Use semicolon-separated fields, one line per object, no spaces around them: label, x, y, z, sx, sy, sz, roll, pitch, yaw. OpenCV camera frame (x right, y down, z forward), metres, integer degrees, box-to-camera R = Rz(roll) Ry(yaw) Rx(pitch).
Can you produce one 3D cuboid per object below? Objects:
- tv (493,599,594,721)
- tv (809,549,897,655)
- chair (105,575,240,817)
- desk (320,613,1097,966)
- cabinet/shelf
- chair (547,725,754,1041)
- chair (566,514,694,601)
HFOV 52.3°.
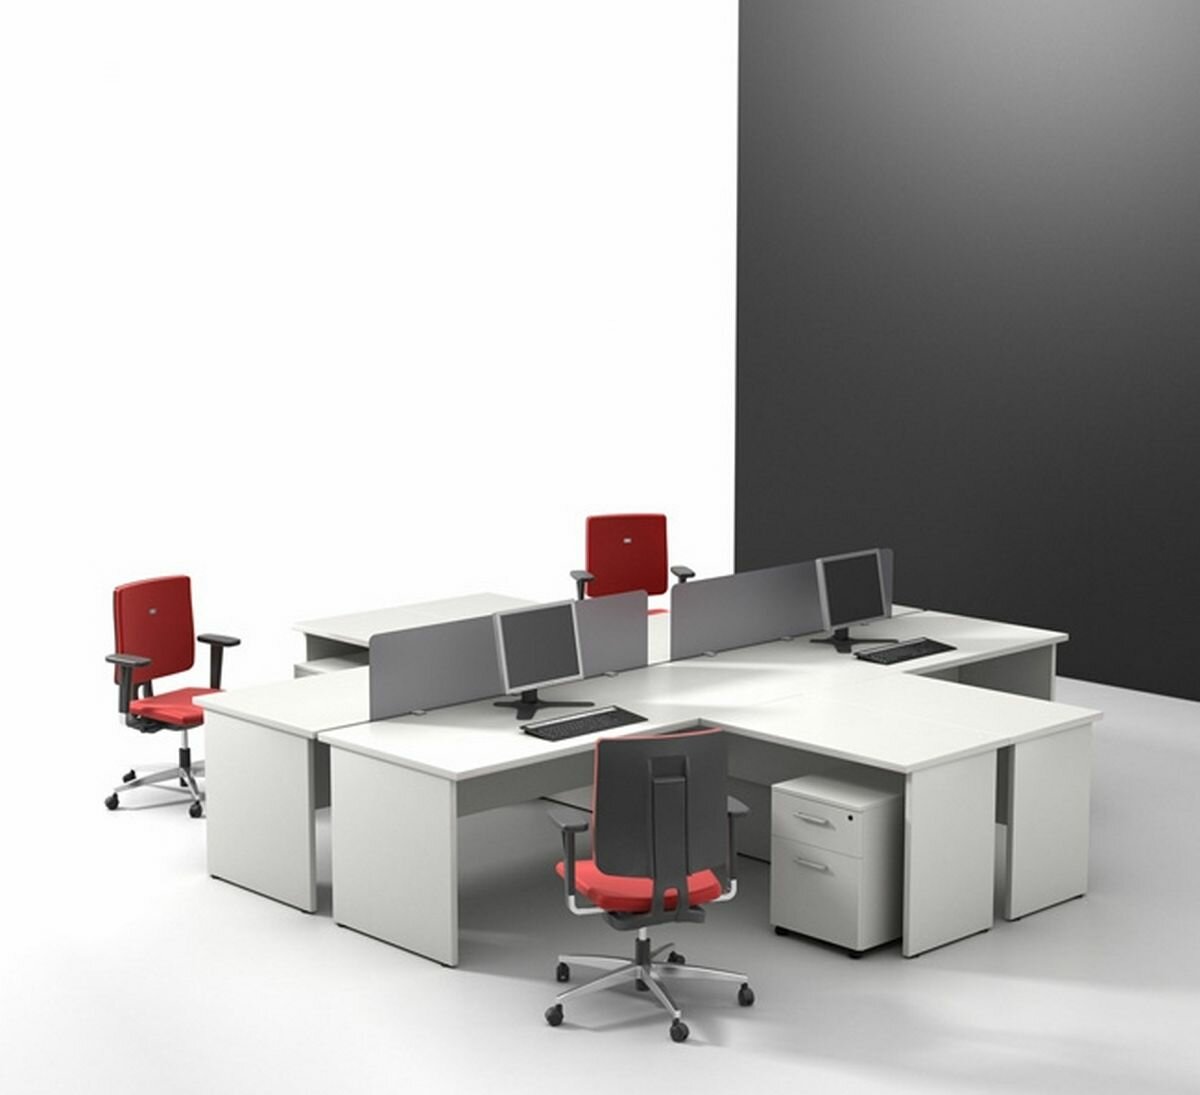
tv;-0.271;0.440;4.846;0.313;0.414;0.410;4;9;44
tv;1.237;0.255;5.994;0.449;0.448;0.306;-10;7;-36
chair;-2.037;0.712;5.863;0.636;1.012;0.684;10;12;17
desk;0.684;0.865;4.727;1.607;0.549;1.501;-6;8;-35
cabinet/shelf;0.845;1.137;4.331;0.324;0.525;0.420;-3;5;-44
chair;0.138;1.006;3.818;0.640;0.890;0.629;-1;3;-2
chair;0.169;0.050;7.841;0.622;0.714;0.573;-2;5;-22
